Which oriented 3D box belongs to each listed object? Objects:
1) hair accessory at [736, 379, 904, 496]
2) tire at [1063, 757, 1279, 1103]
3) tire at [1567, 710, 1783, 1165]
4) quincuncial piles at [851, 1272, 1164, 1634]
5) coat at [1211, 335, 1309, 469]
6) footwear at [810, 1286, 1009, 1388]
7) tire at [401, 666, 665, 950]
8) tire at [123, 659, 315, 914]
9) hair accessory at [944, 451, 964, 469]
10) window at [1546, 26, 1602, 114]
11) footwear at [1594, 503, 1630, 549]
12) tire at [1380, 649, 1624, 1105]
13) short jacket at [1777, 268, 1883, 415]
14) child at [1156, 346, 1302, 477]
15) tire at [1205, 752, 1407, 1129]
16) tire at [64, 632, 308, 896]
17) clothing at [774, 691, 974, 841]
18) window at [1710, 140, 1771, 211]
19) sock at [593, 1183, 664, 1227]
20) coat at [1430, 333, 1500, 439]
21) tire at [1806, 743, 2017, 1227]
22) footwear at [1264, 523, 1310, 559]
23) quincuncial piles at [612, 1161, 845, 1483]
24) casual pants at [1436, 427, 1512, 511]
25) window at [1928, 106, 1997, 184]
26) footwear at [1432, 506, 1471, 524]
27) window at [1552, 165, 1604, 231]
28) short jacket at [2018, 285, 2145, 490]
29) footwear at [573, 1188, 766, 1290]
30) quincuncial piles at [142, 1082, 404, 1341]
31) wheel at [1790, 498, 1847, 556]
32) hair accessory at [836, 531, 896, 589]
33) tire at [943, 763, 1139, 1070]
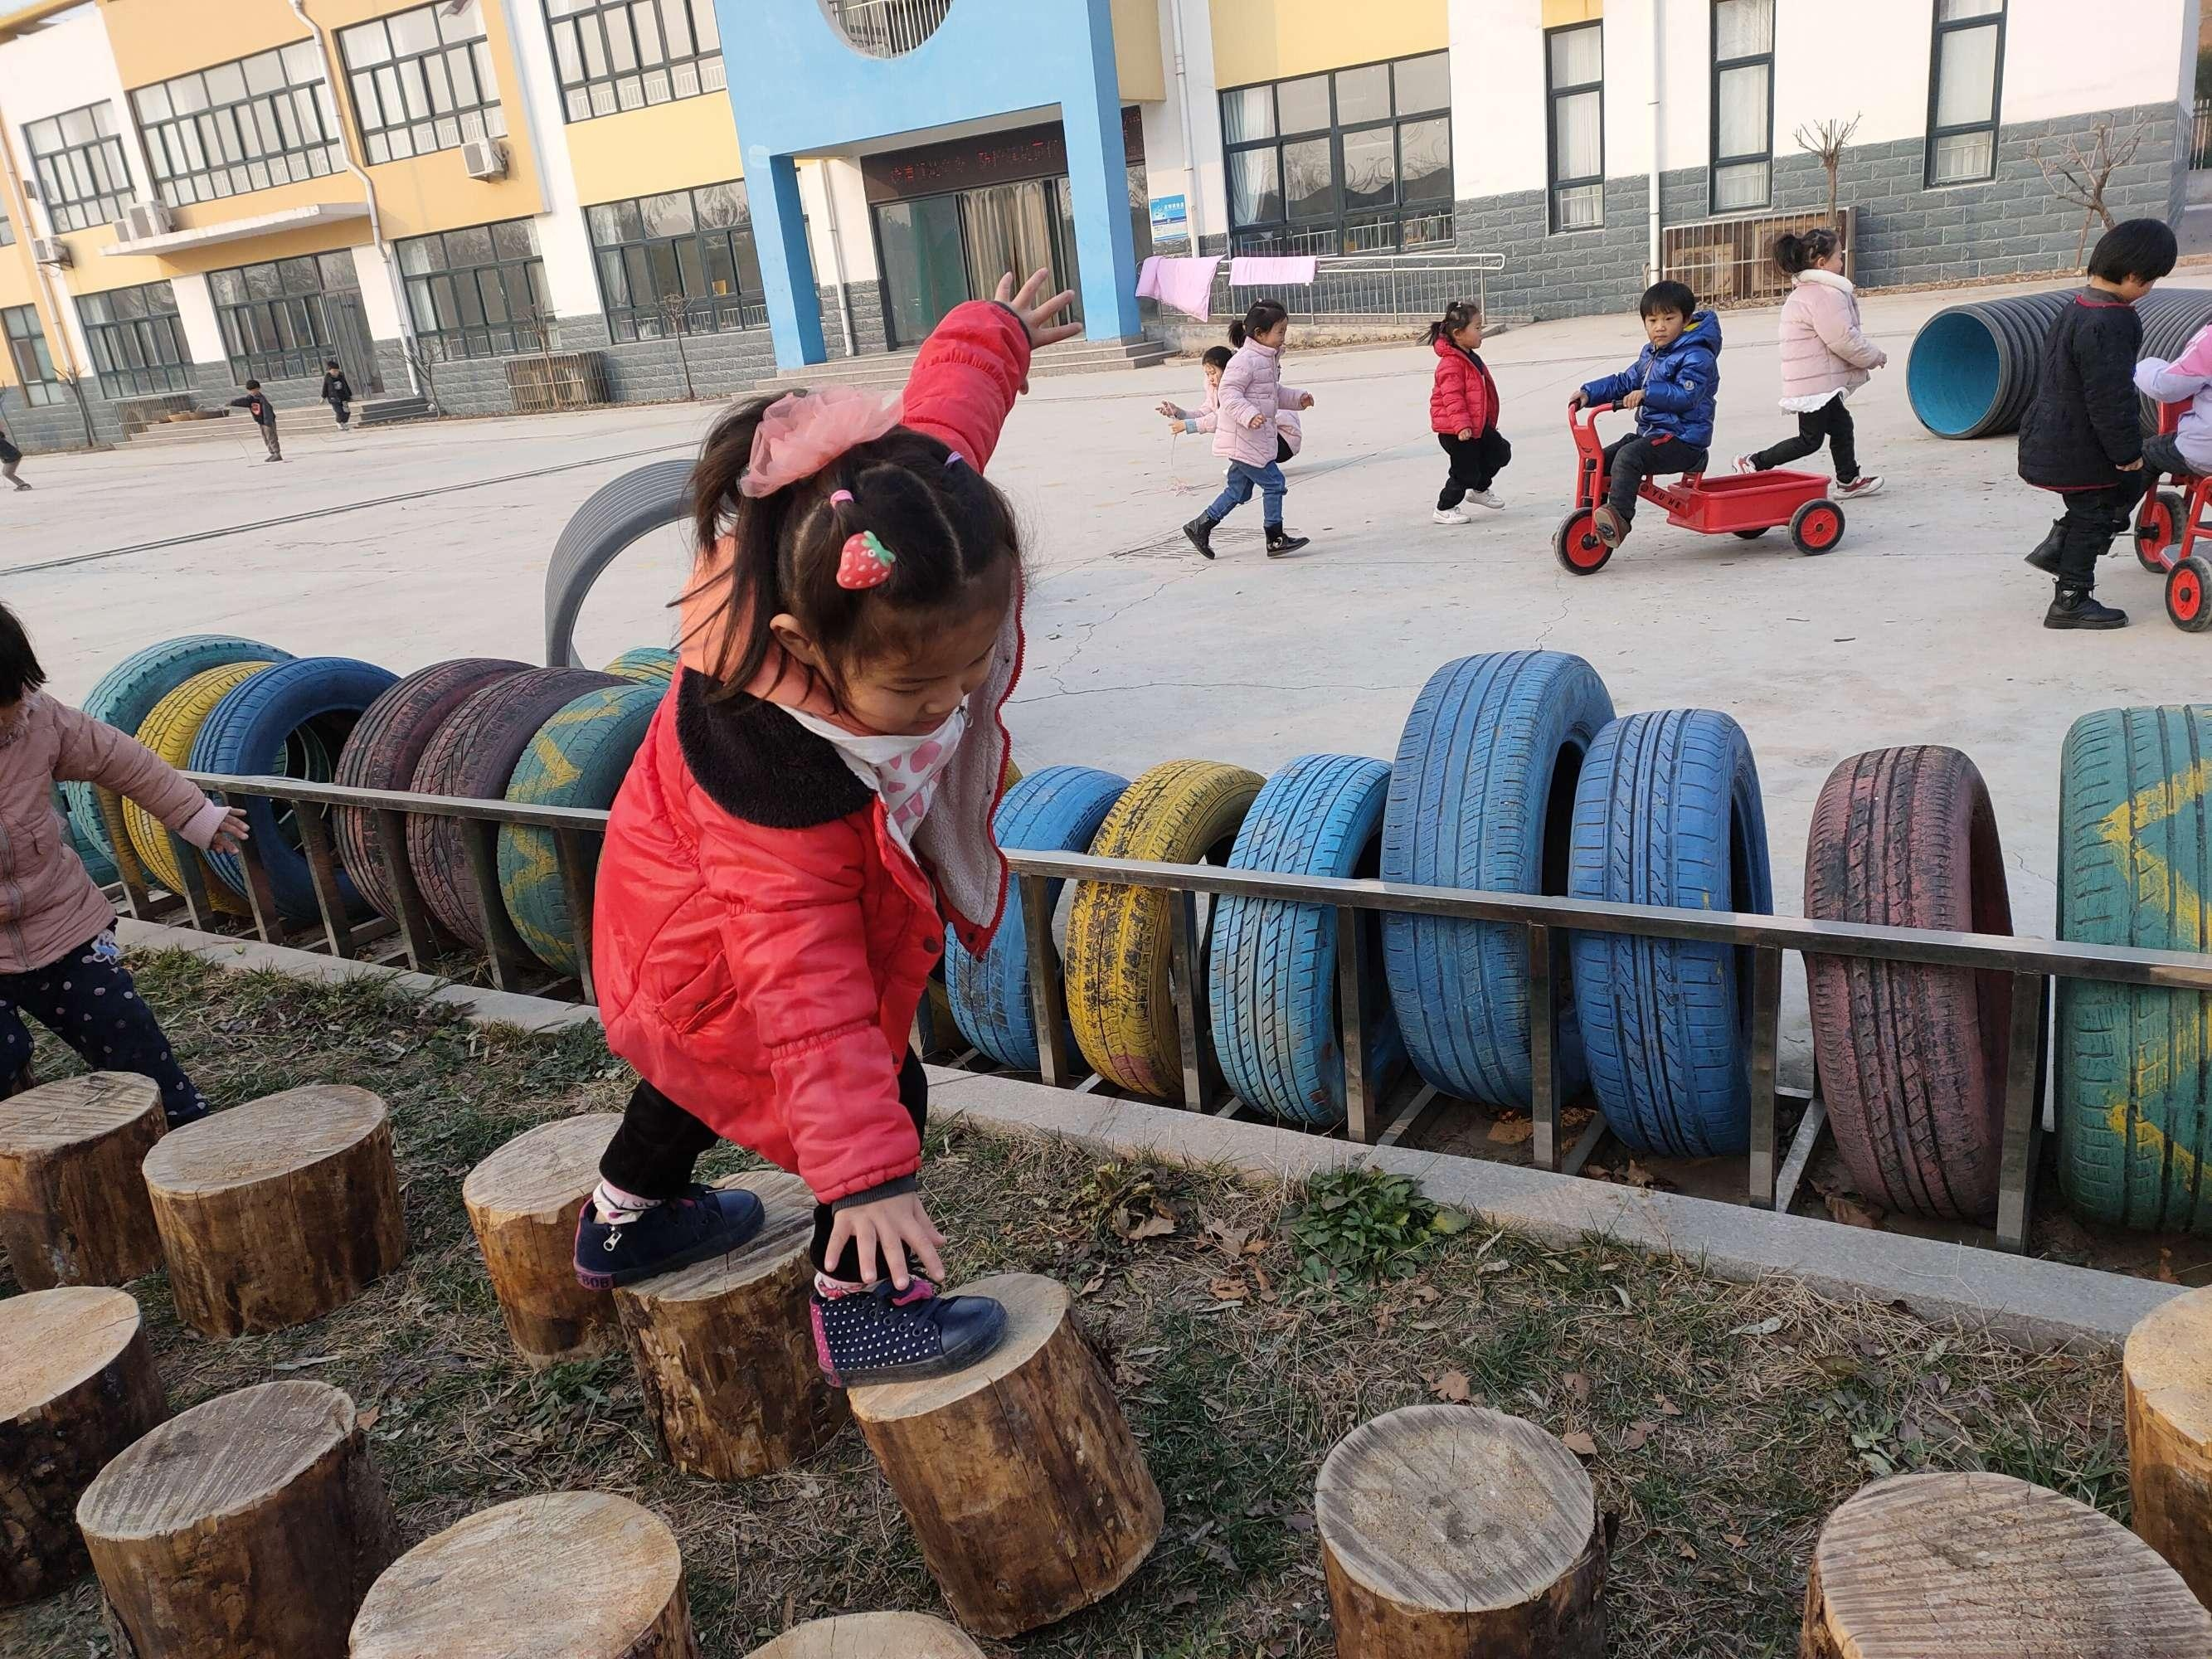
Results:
[{"bbox_3d":[-0.409,-0.556,2.175,0.231,0.131,0.220,-9,19,-7],"label":"hair accessory"},{"bbox_3d":[0.162,0.261,3.581,0.219,0.600,0.632,10,24,14],"label":"tire"},{"bbox_3d":[1.229,0.241,3.346,0.366,0.925,0.595,1,20,22],"label":"tire"},{"bbox_3d":[-0.124,1.020,2.673,0.530,0.482,0.504,-28,16,0],"label":"quincuncial piles"},{"bbox_3d":[0.870,-2.446,8.706,0.448,0.672,0.792,3,21,25],"label":"coat"},{"bbox_3d":[-0.309,0.805,2.496,0.322,0.151,0.140,-8,35,7],"label":"footwear"},{"bbox_3d":[-1.783,-0.093,4.846,0.864,0.873,0.785,12,9,10],"label":"tire"},{"bbox_3d":[-2.849,-0.132,4.915,0.258,0.742,0.668,13,22,22],"label":"tire"},{"bbox_3d":[-0.217,-0.529,2.195,0.031,0.018,0.040,18,8,-5],"label":"hair accessory"},{"bbox_3d":[5.904,-9.489,19.047,0.874,1.032,0.110,13,36,27],"label":"window"},{"bbox_3d":[2.440,-1.453,7.327,0.149,0.195,0.091,0,20,18],"label":"footwear"},{"bbox_3d":[0.870,0.128,3.324,0.330,0.959,0.868,7,16,26],"label":"tire"},{"bbox_3d":[3.871,-2.619,8.137,0.519,0.709,0.589,-7,24,11],"label":"short jacket"},{"bbox_3d":[0.734,-2.772,9.689,1.040,0.512,0.628,-20,21,12],"label":"child"},{"bbox_3d":[0.470,0.276,3.461,0.230,0.656,0.607,13,37,24],"label":"tire"},{"bbox_3d":[-2.952,-0.179,4.915,0.275,0.798,0.716,17,23,16],"label":"tire"},{"bbox_3d":[-0.311,-0.045,2.267,0.176,0.261,0.351,-16,-10,-4],"label":"clothing"},{"bbox_3d":[7.776,-7.949,18.529,0.856,0.868,0.060,7,22,29],"label":"window"},{"bbox_3d":[-0.864,0.672,2.772,0.074,0.059,0.098,33,9,23],"label":"sock"},{"bbox_3d":[2.046,-2.504,8.664,0.329,0.557,0.465,-2,19,14],"label":"coat"},{"bbox_3d":[1.645,0.308,3.121,0.378,0.894,0.628,5,22,29],"label":"tire"},{"bbox_3d":[1.023,-1.666,8.698,0.242,0.177,0.349,-1,19,17],"label":"footwear"},{"bbox_3d":[-0.674,0.953,2.972,0.442,0.425,0.470,0,28,26],"label":"quincuncial piles"},{"bbox_3d":[2.184,-2.100,8.946,0.396,0.429,0.774,5,6,10],"label":"casual pants"},{"bbox_3d":[9.799,-7.763,17.297,0.871,0.849,0.081,14,39,36],"label":"window"},{"bbox_3d":[2.032,-1.818,8.880,0.202,0.093,0.106,0,25,5],"label":"footwear"},{"bbox_3d":[6.088,-8.065,19.477,0.806,0.698,0.283,7,19,36],"label":"window"},{"bbox_3d":[3.788,-1.693,5.870,0.398,0.689,0.723,-3,20,14],"label":"short jacket"},{"bbox_3d":[-0.794,0.743,2.773,0.285,0.122,0.112,-17,34,-25],"label":"footwear"},{"bbox_3d":[-1.832,0.805,3.382,0.475,0.380,0.515,-2,21,-8],"label":"quincuncial piles"},{"bbox_3d":[3.421,-1.449,7.279,0.258,0.252,0.179,-5,19,6],"label":"wheel"},{"bbox_3d":[-0.318,-0.356,2.026,0.079,0.075,0.028,-9,19,-8],"label":"hair accessory"},{"bbox_3d":[-0.135,0.213,3.467,0.205,0.593,0.549,25,39,24],"label":"tire"}]
